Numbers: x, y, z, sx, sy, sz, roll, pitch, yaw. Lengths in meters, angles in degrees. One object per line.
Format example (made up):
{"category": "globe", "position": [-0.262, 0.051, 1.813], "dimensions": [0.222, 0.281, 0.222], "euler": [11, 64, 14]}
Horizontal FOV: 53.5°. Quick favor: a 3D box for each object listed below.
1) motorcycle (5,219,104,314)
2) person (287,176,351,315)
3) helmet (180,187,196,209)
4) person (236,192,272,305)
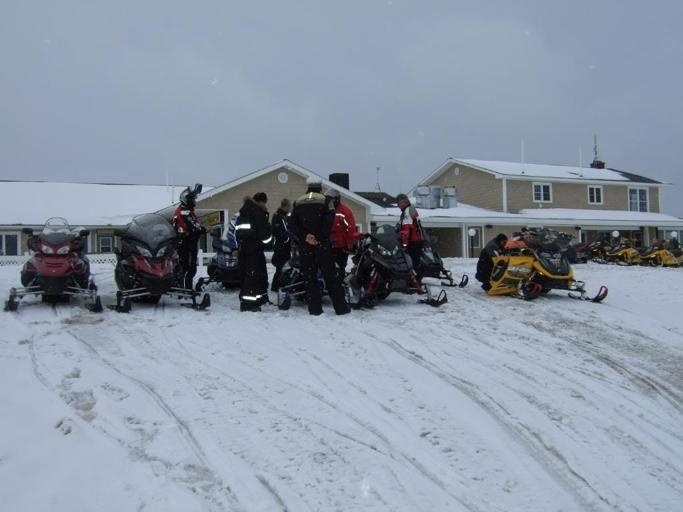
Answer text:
{"category": "motorcycle", "position": [-4.499, 0.113, 10.612], "dimensions": [1.356, 1.318, 1.275], "euler": [0, 9, -11]}
{"category": "person", "position": [-0.344, -0.145, 10.517], "dimensions": [0.787, 1.994, 0.936], "euler": [-4, 10, -32]}
{"category": "helmet", "position": [-2.676, -1.020, 11.807], "dimensions": [0.255, 0.347, 0.336], "euler": [0, 9, -14]}
{"category": "person", "position": [-1.411, -0.078, 10.839], "dimensions": [0.543, 1.815, 0.938], "euler": [1, 9, -7]}
